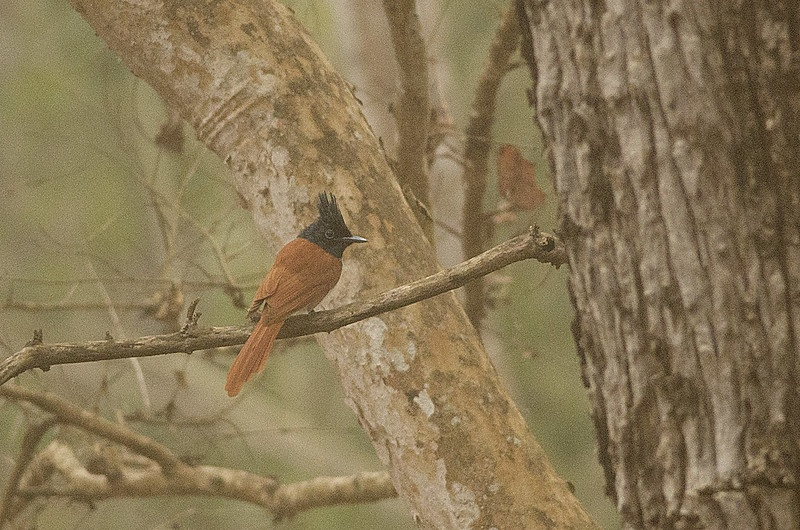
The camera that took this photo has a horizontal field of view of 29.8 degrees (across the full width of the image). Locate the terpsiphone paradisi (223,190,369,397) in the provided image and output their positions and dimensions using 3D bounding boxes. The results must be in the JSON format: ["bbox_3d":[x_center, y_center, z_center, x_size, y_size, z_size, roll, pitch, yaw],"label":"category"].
[{"bbox_3d":[-0.579,0.174,8.061,0.858,0.884,0.335,-39,-61,22],"label":"terpsiphone paradisi"}]
